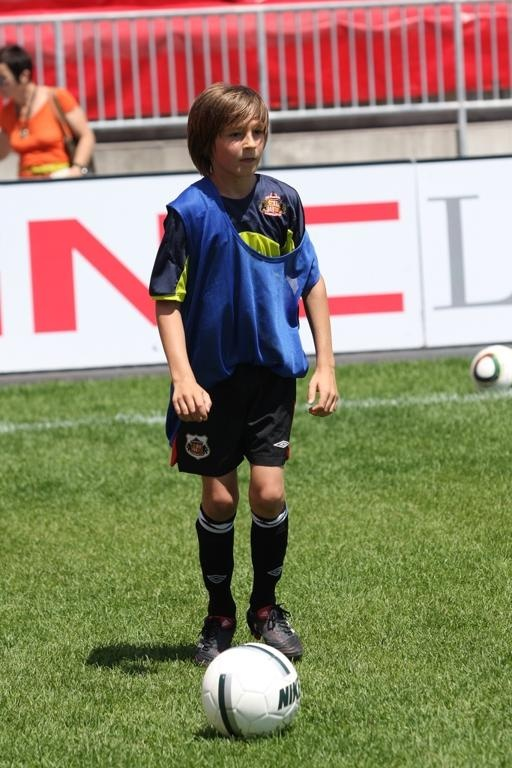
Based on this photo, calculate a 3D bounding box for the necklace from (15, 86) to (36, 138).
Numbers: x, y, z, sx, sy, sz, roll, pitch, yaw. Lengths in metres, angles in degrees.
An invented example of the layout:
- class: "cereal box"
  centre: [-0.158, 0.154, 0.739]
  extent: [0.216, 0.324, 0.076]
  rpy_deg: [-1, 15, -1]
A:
- class: "necklace"
  centre: [-1.060, -1.271, 5.278]
  extent: [0.053, 0.197, 0.129]
  rpy_deg: [0, 10, -38]

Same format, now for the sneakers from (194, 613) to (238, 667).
- class: "sneakers"
  centre: [-0.114, 0.716, 3.185]
  extent: [0.061, 0.082, 0.183]
  rpy_deg: [5, 34, 21]

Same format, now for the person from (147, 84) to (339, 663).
- class: "person"
  centre: [-0.026, -0.013, 3.108]
  extent: [0.484, 1.590, 0.394]
  rpy_deg: [-3, 8, 3]

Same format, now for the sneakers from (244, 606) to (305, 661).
- class: "sneakers"
  centre: [0.056, 0.696, 3.256]
  extent: [0.077, 0.106, 0.215]
  rpy_deg: [-16, 31, -34]
